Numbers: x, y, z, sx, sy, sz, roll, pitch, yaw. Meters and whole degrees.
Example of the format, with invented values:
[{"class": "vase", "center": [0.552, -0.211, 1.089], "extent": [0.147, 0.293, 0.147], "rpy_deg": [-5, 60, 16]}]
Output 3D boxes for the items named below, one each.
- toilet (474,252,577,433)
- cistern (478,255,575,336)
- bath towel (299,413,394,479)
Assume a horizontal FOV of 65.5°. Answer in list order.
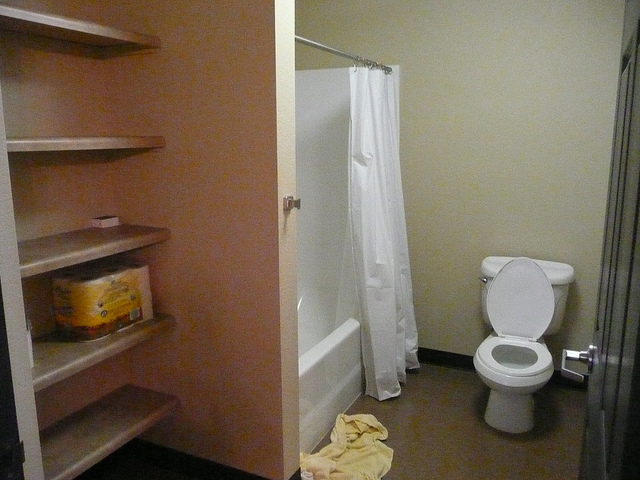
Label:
[{"class": "toilet", "center": [1.163, 0.585, 3.020], "extent": [0.588, 0.922, 0.842], "rpy_deg": [8, 22, 27]}, {"class": "cistern", "center": [1.295, 0.351, 3.202], "extent": [0.622, 0.418, 0.365], "rpy_deg": [7, 16, 25]}, {"class": "bath towel", "center": [0.172, 1.110, 2.653], "extent": [0.433, 0.089, 0.556], "rpy_deg": [6, 20, 24]}]
